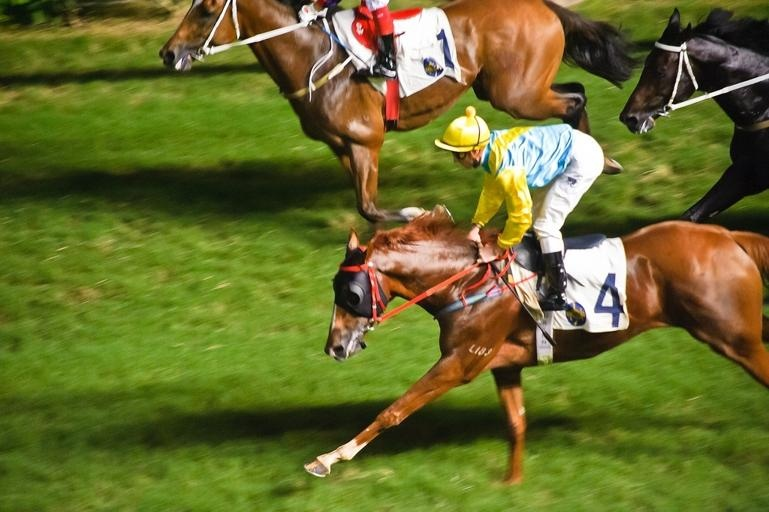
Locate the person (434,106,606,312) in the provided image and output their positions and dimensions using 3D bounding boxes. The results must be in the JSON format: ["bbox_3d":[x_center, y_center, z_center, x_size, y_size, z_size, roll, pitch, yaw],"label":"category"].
[{"bbox_3d":[1.023,-0.360,5.821,0.929,1.154,1.073,-17,46,-27],"label":"person"}]

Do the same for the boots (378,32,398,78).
[{"bbox_3d":[0.033,-1.706,7.386,0.164,0.359,0.215,5,42,-6],"label":"boots"}]

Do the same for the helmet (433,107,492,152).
[{"bbox_3d":[0.526,-0.810,5.689,0.289,0.310,0.259,-24,50,-33],"label":"helmet"}]

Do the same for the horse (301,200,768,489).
[{"bbox_3d":[1.070,0.656,6.066,2.971,1.940,1.147,4,42,-4],"label":"horse"}]
